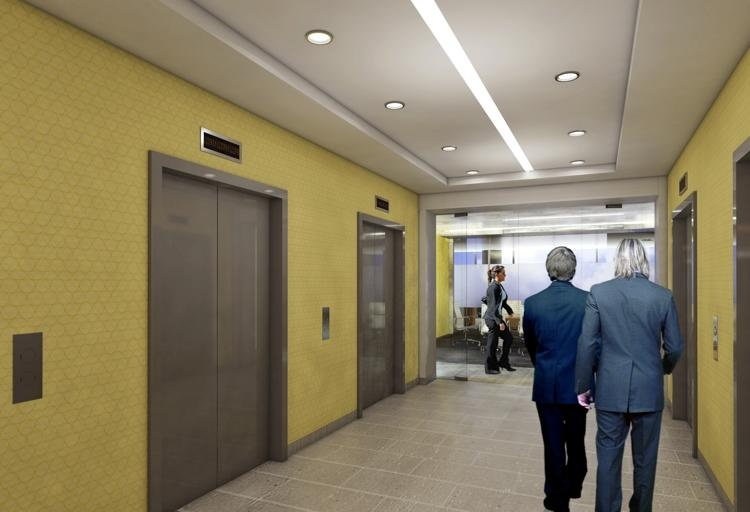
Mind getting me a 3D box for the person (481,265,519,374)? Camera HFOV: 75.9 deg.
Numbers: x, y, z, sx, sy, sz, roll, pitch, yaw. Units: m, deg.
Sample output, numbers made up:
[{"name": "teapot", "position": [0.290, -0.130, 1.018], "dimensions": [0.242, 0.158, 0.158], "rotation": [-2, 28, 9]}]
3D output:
[{"name": "person", "position": [2.234, 1.153, 8.719], "dimensions": [0.557, 1.987, 0.232], "rotation": [0, 1, 16]}]
